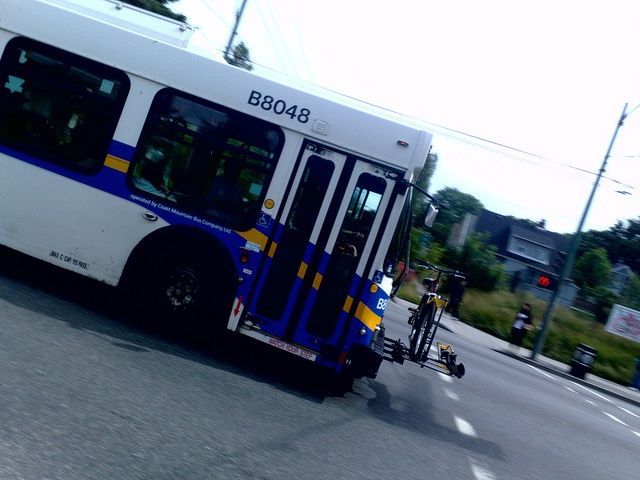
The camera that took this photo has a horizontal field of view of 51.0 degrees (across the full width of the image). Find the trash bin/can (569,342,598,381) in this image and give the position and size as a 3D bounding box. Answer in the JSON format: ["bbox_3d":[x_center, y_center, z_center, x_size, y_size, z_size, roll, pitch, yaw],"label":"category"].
[{"bbox_3d":[9.651,4.336,24.772,0.822,1.362,0.894,7,4,15],"label":"trash bin/can"}]

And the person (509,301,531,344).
[{"bbox_3d":[7.784,3.289,25.849,0.652,1.701,1.234,16,-1,17],"label":"person"}]

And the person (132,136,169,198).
[{"bbox_3d":[-2.452,-1.090,10.080,0.765,0.792,0.185,19,0,8],"label":"person"}]

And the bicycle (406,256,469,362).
[{"bbox_3d":[1.886,1.339,11.234,0.829,1.142,1.848,22,-4,6],"label":"bicycle"}]
